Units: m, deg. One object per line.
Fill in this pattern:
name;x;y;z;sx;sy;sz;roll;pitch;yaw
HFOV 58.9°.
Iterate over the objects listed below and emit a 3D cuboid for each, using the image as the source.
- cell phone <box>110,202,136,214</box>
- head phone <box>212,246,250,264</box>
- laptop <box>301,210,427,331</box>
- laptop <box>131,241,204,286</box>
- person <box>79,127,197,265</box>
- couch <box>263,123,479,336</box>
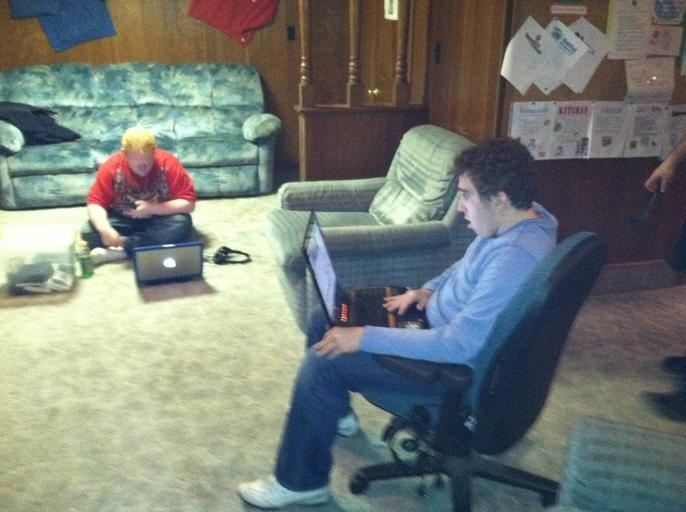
cell phone;-1.511;-0.332;4.191;0.127;0.047;0.090;4;8;2
head phone;-0.779;0.007;4.230;0.195;0.073;0.145;5;16;-1
laptop;0.092;0.064;2.412;0.494;0.332;0.462;-3;16;-3
laptop;-1.092;0.047;3.857;0.436;0.283;0.279;-3;6;-14
person;-1.452;-0.433;4.169;0.750;0.887;0.683;-22;47;-36
couch;0.235;-0.170;3.734;1.306;1.237;1.299;-5;20;-12
